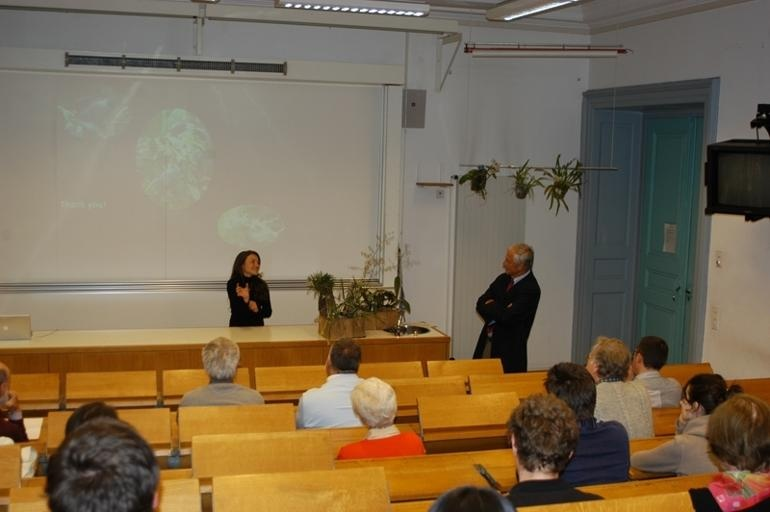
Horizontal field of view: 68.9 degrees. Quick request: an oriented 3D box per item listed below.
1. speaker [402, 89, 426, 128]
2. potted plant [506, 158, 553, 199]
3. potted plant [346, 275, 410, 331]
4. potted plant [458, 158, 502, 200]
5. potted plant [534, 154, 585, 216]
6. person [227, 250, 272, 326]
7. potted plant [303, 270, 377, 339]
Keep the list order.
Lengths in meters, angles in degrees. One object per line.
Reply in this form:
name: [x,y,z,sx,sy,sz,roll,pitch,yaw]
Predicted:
speaker: [0.361,-1.920,7.062,0.313,0.443,0.237,5,37,8]
potted plant: [1.475,-0.779,5.936,0.541,0.322,0.410,15,-10,-33]
potted plant: [-0.047,0.520,5.831,0.547,0.516,0.672,-5,-2,-3]
potted plant: [1.004,-0.843,6.067,0.385,0.153,0.478,14,-24,-21]
potted plant: [1.845,-0.768,5.958,0.553,0.284,0.501,12,14,-25]
person: [-1.388,0.326,5.697,0.407,0.757,0.323,-2,3,-15]
potted plant: [-0.417,0.480,5.490,0.628,0.614,0.485,4,14,5]
